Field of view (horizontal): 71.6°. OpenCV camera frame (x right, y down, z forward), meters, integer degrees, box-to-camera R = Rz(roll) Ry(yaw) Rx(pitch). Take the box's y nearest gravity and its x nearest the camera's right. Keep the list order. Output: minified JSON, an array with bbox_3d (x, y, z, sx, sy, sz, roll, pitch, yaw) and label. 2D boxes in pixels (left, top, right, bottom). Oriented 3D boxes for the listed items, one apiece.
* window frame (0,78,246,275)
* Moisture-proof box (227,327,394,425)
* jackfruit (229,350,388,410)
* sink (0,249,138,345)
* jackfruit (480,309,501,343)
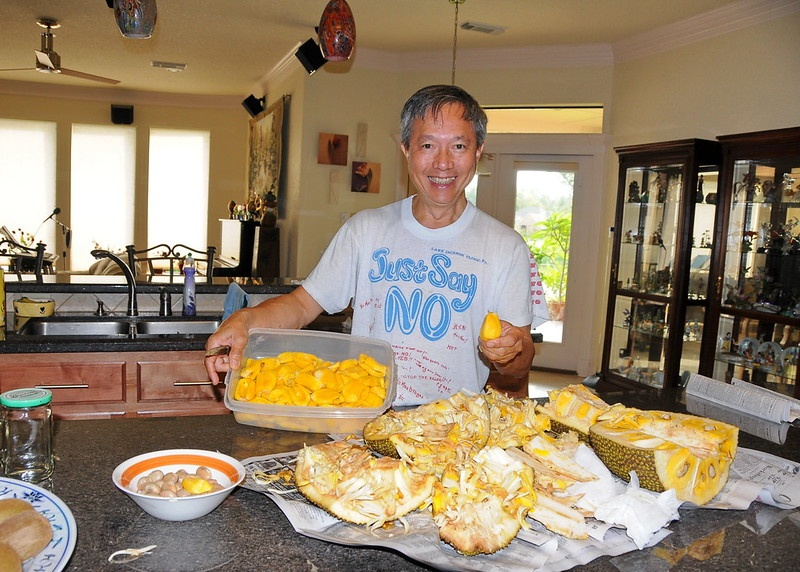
[{"bbox_3d":[-4.423,-1.824,8.561,3.341,2.256,0.169,0,8,-10],"label":"window frame"},{"bbox_3d":[-0.234,0.241,1.498,0.348,0.099,0.281,3,33,1],"label":"Moisture-proof box"},{"bbox_3d":[-0.219,0.244,1.405,0.235,0.059,0.167,1,13,1],"label":"jackfruit"},{"bbox_3d":[-1.910,0.132,3.239,0.734,0.470,0.684,1,3,-13],"label":"sink"},{"bbox_3d":[0.253,0.115,1.579,0.057,0.076,0.051,-7,-38,36],"label":"jackfruit"}]
